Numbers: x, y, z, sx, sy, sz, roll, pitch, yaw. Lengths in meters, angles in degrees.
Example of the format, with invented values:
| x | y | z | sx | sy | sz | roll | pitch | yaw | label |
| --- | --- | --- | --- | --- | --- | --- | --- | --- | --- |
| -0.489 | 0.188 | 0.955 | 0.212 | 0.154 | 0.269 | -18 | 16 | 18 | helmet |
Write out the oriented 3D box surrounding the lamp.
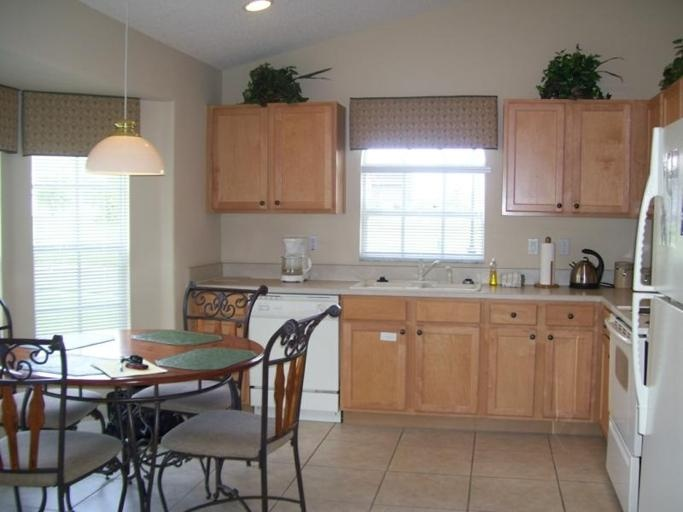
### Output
| x | y | z | sx | sy | sz | roll | pitch | yaw | label |
| --- | --- | --- | --- | --- | --- | --- | --- | --- | --- |
| -1.557 | -1.170 | 4.113 | 0.449 | 1.218 | 1.666 | -3 | 10 | -19 | lamp |

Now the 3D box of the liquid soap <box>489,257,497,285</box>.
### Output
| x | y | z | sx | sy | sz | roll | pitch | yaw | label |
| --- | --- | --- | --- | --- | --- | --- | --- | --- | --- |
| 1.323 | 0.147 | 5.068 | 0.075 | 0.214 | 0.267 | 2 | 10 | 14 | liquid soap |

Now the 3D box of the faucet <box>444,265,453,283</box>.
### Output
| x | y | z | sx | sy | sz | roll | pitch | yaw | label |
| --- | --- | --- | --- | --- | --- | --- | --- | --- | --- |
| 0.957 | 0.164 | 5.160 | 0.067 | 0.150 | 0.135 | 1 | 10 | 4 | faucet |

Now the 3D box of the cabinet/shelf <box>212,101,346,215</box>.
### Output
| x | y | z | sx | sy | sz | roll | pitch | yaw | label |
| --- | --- | --- | --- | --- | --- | --- | --- | --- | --- |
| -0.547 | -0.883 | 5.096 | 0.982 | 0.769 | 0.364 | 1 | 1 | 11 | cabinet/shelf |

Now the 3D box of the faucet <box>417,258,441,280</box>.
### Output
| x | y | z | sx | sy | sz | roll | pitch | yaw | label |
| --- | --- | --- | --- | --- | --- | --- | --- | --- | --- |
| 0.769 | 0.126 | 5.172 | 0.193 | 0.197 | 0.297 | 2 | 10 | 8 | faucet |

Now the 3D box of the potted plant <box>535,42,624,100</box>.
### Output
| x | y | z | sx | sy | sz | roll | pitch | yaw | label |
| --- | --- | --- | --- | --- | --- | --- | --- | --- | --- |
| 1.988 | -1.564 | 4.792 | 0.350 | 0.353 | 0.427 | 6 | 20 | 12 | potted plant |

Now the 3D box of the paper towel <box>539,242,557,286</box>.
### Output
| x | y | z | sx | sy | sz | roll | pitch | yaw | label |
| --- | --- | --- | --- | --- | --- | --- | --- | --- | --- |
| 1.752 | 0.059 | 4.947 | 0.117 | 0.364 | 0.201 | 3 | 10 | 17 | paper towel |

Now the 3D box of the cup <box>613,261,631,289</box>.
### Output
| x | y | z | sx | sy | sz | roll | pitch | yaw | label |
| --- | --- | --- | --- | --- | --- | --- | --- | --- | --- |
| 2.358 | 0.160 | 4.869 | 0.122 | 0.209 | 0.163 | 3 | 10 | 14 | cup |

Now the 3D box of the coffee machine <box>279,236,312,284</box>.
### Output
| x | y | z | sx | sy | sz | roll | pitch | yaw | label |
| --- | --- | --- | --- | --- | --- | --- | --- | --- | --- |
| -0.414 | 0.036 | 5.200 | 0.251 | 0.380 | 0.174 | -2 | 10 | -10 | coffee machine |

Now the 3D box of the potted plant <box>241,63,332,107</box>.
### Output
| x | y | z | sx | sy | sz | roll | pitch | yaw | label |
| --- | --- | --- | --- | --- | --- | --- | --- | --- | --- |
| -0.549 | -1.566 | 5.253 | 0.621 | 0.399 | 0.643 | -3 | 5 | -26 | potted plant |

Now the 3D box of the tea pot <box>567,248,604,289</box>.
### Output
| x | y | z | sx | sy | sz | roll | pitch | yaw | label |
| --- | --- | --- | --- | --- | --- | --- | --- | --- | --- |
| 2.063 | 0.106 | 4.878 | 0.271 | 0.336 | 0.217 | 3 | 6 | 31 | tea pot |
